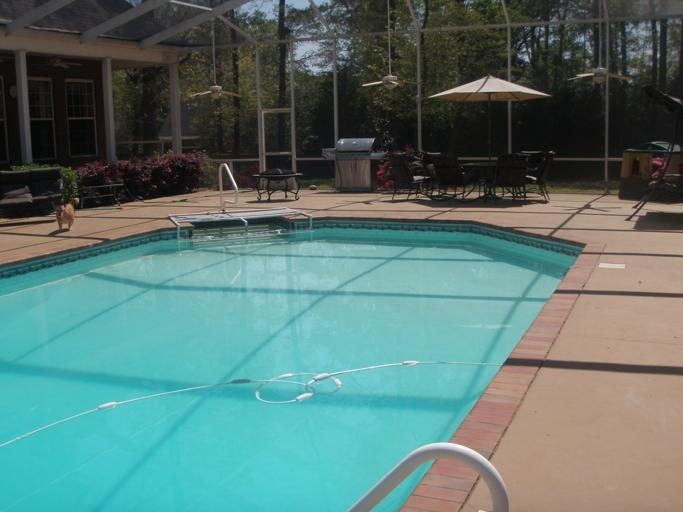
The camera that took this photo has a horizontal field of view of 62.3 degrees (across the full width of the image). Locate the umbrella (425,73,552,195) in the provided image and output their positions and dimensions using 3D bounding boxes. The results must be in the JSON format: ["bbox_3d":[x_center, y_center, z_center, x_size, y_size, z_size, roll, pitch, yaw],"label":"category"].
[{"bbox_3d":[3.457,-2.761,12.770,2.664,2.499,2.711,-2,8,-3],"label":"umbrella"}]

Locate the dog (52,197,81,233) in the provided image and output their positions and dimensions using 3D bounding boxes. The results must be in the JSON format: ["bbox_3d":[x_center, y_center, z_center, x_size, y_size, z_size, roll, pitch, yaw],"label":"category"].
[{"bbox_3d":[-4.617,-0.727,9.487,0.243,0.512,1.009,1,16,-11],"label":"dog"}]

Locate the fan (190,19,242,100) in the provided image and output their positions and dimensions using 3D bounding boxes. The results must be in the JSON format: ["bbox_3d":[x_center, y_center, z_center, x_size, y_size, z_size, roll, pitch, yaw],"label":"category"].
[{"bbox_3d":[-3.529,-5.351,15.572,1.169,1.986,1.812,-9,16,-27],"label":"fan"}]

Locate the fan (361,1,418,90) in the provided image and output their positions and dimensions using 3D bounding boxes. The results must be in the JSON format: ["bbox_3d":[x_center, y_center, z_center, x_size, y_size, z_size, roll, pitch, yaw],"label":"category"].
[{"bbox_3d":[1.136,-5.231,13.889,1.311,2.201,1.864,-1,14,2],"label":"fan"}]
